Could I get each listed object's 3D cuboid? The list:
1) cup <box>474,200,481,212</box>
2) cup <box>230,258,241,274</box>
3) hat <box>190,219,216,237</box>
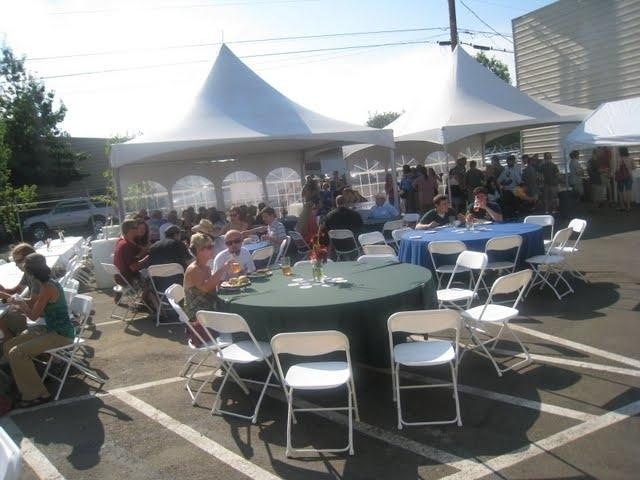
[{"bbox_3d":[2.814,-0.585,8.690,0.142,0.209,0.143,-4,15,1],"label":"cup"},{"bbox_3d":[-0.969,0.301,5.490,0.161,0.188,0.160,-1,-3,0],"label":"cup"},{"bbox_3d":[-1.774,-0.198,7.452,0.371,0.189,0.442,20,-9,10],"label":"hat"}]
